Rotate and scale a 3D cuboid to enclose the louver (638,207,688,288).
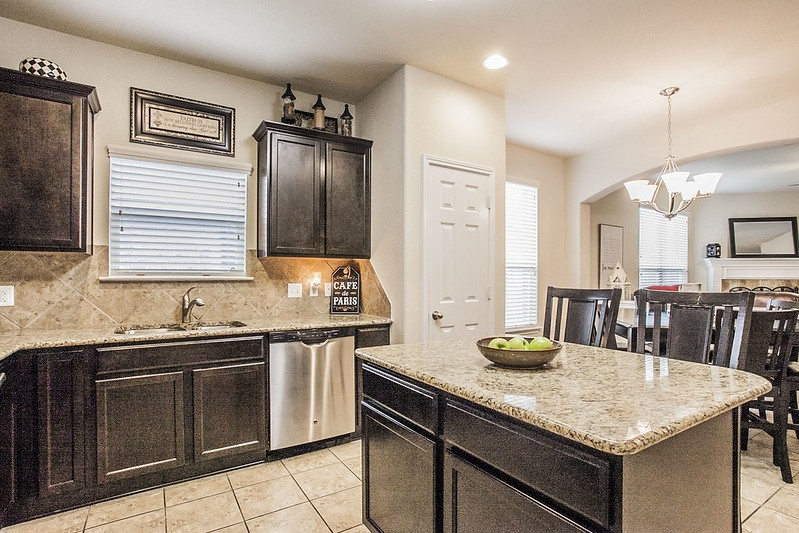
[{"bbox_3d":[4.248,-0.299,9.162,1.406,1.465,0.166,2,-4,-35],"label":"louver"}]
